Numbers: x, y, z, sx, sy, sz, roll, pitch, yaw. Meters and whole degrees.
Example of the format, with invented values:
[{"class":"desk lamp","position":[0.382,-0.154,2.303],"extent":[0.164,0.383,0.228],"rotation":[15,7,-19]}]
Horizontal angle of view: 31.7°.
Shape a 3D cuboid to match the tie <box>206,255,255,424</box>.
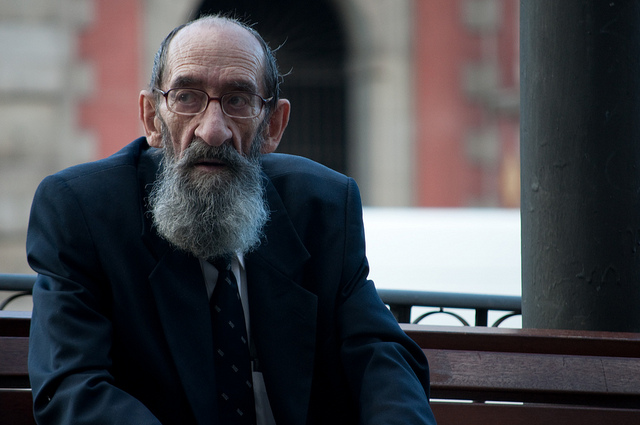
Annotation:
[{"class":"tie","position":[-0.498,0.709,6.276],"extent":[0.229,0.927,0.169],"rotation":[-1,-1,-11]}]
